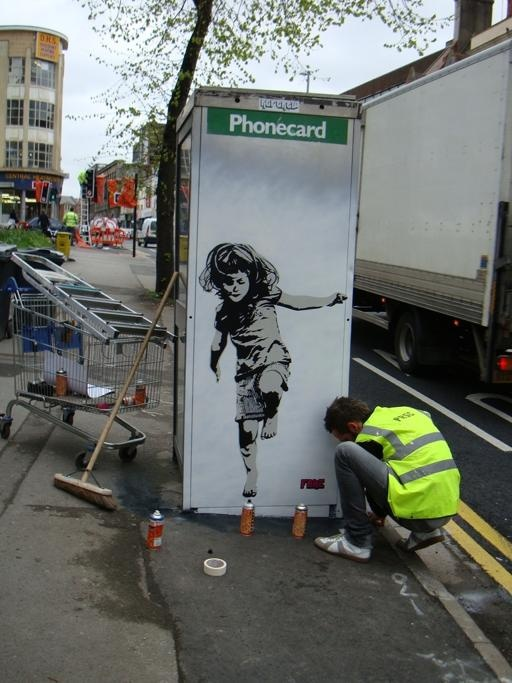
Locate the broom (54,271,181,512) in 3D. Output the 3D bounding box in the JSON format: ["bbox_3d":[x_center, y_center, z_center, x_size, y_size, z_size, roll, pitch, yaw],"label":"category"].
[{"bbox_3d":[-0.878,0.115,4.120,0.185,2.293,1.074,29,-19,-23],"label":"broom"}]

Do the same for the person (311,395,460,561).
[{"bbox_3d":[0.894,0.808,3.453,0.797,0.938,0.913,3,-2,-42],"label":"person"}]

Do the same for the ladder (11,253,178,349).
[{"bbox_3d":[-1.164,-0.315,5.573,0.487,0.275,1.621,35,1,-2],"label":"ladder"}]

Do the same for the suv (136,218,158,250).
[{"bbox_3d":[-8.972,-8.994,46.258,1.152,2.345,4.199,2,11,-17],"label":"suv"}]
